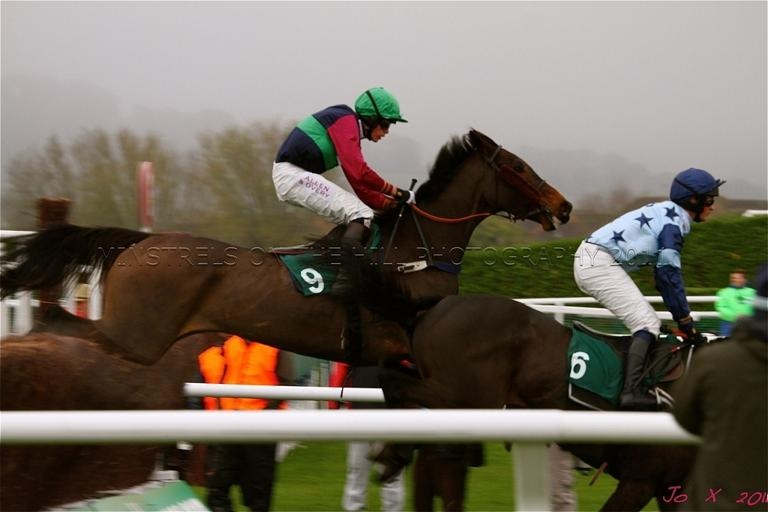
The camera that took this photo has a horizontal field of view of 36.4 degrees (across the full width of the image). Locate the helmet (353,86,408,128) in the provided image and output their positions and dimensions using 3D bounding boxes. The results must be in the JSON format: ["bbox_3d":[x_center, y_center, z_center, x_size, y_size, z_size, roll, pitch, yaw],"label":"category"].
[{"bbox_3d":[0.007,-0.826,6.377,0.343,0.159,0.201,4,16,16],"label":"helmet"}]

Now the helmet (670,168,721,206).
[{"bbox_3d":[1.632,-0.376,6.071,0.322,0.144,0.225,-4,-2,22],"label":"helmet"}]

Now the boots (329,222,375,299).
[{"bbox_3d":[-0.166,0.021,6.040,0.163,0.361,0.321,5,15,0],"label":"boots"}]
